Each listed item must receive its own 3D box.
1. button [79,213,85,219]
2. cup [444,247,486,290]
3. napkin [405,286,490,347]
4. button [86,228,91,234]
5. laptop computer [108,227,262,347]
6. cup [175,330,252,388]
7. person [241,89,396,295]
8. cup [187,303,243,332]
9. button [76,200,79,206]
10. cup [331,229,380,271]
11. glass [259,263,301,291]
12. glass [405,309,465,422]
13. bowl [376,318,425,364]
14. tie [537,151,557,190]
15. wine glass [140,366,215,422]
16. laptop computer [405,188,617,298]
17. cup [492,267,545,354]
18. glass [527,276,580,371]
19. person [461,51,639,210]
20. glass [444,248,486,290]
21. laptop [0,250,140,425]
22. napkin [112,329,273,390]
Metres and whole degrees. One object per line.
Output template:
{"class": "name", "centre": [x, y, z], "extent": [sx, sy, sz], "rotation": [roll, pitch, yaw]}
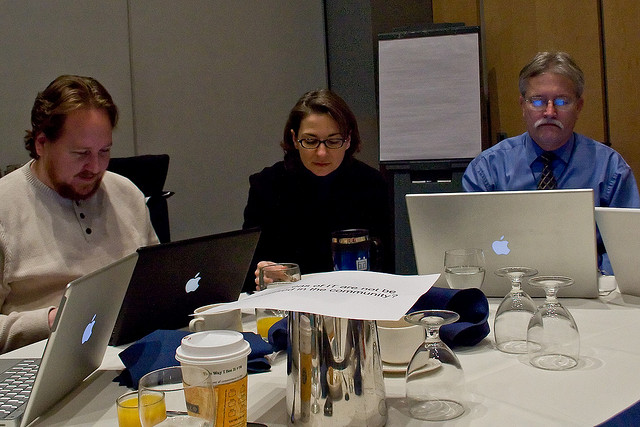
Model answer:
{"class": "button", "centre": [-1.126, 0.012, 2.591], "extent": [0.025, 0.026, 0.006], "rotation": [3, -5, -39]}
{"class": "cup", "centre": [0.500, 0.201, 2.004], "extent": [0.133, 0.161, 0.138], "rotation": [-2, -5, 0]}
{"class": "napkin", "centre": [0.453, 0.326, 1.937], "extent": [0.209, 0.118, 0.279], "rotation": [-13, 18, -31]}
{"class": "button", "centre": [-1.097, 0.083, 2.600], "extent": [0.006, 0.028, 0.024], "rotation": [2, 9, 27]}
{"class": "laptop computer", "centre": [-0.483, 0.148, 1.934], "extent": [0.419, 0.305, 0.477], "rotation": [7, 12, 44]}
{"class": "cup", "centre": [-0.306, 0.413, 1.566], "extent": [0.209, 0.125, 0.212], "rotation": [-2, 4, 0]}
{"class": "person", "centre": [-0.032, 0.155, 3.288], "extent": [0.943, 1.651, 0.886], "rotation": [-1, 10, -8]}
{"class": "cup", "centre": [-0.359, 0.338, 1.911], "extent": [0.170, 0.126, 0.125], "rotation": [-6, 7, -25]}
{"class": "button", "centre": [-1.145, -0.051, 2.589], "extent": [0.012, 0.019, 0.010], "rotation": [0, 9, 15]}
{"class": "cup", "centre": [0.140, 0.146, 2.266], "extent": [0.221, 0.221, 0.149], "rotation": [-1, -1, -37]}
{"class": "glass", "centre": [-0.142, 0.231, 1.984], "extent": [0.124, 0.095, 0.098], "rotation": [-3, -1, 16]}
{"class": "glass", "centre": [0.336, 0.451, 1.583], "extent": [0.173, 0.266, 0.103], "rotation": [-1, 8, 7]}
{"class": "bowl", "centre": [0.243, 0.388, 1.792], "extent": [0.170, 0.134, 0.154], "rotation": [-4, -1, -4]}
{"class": "tie", "centre": [1.346, -0.252, 3.233], "extent": [0.123, 0.280, 0.031], "rotation": [6, 44, 33]}
{"class": "wine glass", "centre": [-0.363, 0.447, 1.435], "extent": [0.143, 0.152, 0.149], "rotation": [0, -6, 2]}
{"class": "laptop computer", "centre": [0.811, 0.153, 2.328], "extent": [0.615, 0.399, 0.492], "rotation": [-1, 2, 18]}
{"class": "cup", "centre": [0.678, 0.328, 1.888], "extent": [0.166, 0.262, 0.171], "rotation": [-3, 3, 0]}
{"class": "glass", "centre": [0.756, 0.349, 1.772], "extent": [0.155, 0.275, 0.148], "rotation": [2, 9, 26]}
{"class": "person", "centre": [1.478, -0.522, 3.392], "extent": [1.197, 1.121, 0.691], "rotation": [-1, -3, 20]}
{"class": "glass", "centre": [0.525, 0.208, 2.006], "extent": [0.137, 0.167, 0.143], "rotation": [-6, 12, -7]}
{"class": "laptop", "centre": [-0.734, 0.379, 1.713], "extent": [0.474, 0.365, 0.458], "rotation": [4, 10, 15]}
{"class": "napkin", "centre": [-0.415, 0.445, 1.765], "extent": [0.316, 0.101, 0.263], "rotation": [2, 3, 3]}
